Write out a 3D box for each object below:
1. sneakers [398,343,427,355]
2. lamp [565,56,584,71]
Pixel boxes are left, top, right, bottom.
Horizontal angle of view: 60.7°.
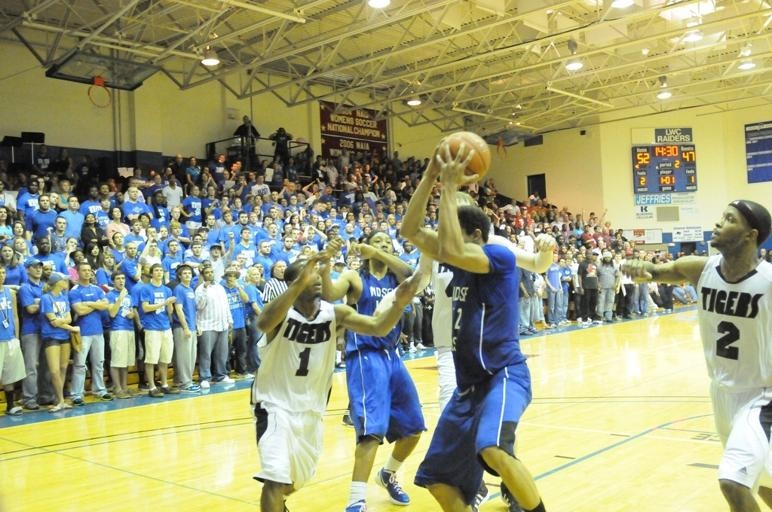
[{"bbox_3d":[0.599,2.109,14.938,0.687,0.294,0.232,-3,-6,16],"label":"sneakers"},{"bbox_3d":[5.763,-5.926,20.320,0.472,0.329,0.612,0,5,16],"label":"lamp"}]
